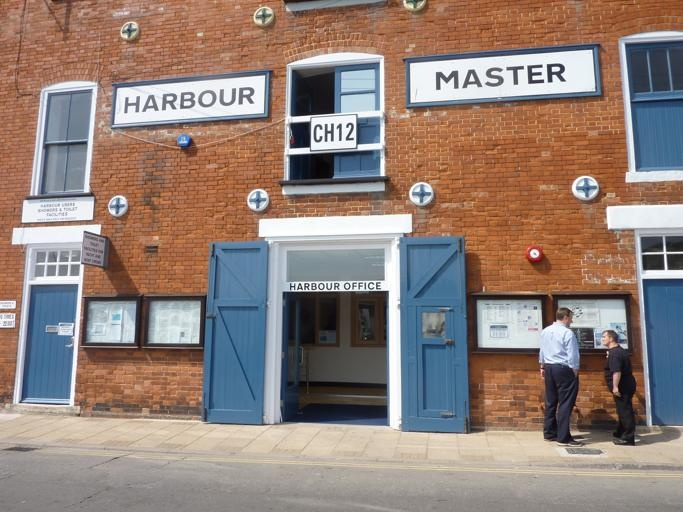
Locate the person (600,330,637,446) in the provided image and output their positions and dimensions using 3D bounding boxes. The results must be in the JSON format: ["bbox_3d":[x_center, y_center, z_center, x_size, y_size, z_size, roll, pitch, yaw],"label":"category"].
[{"bbox_3d":[4.921,2.300,11.968,0.472,1.891,0.660,-1,4,1],"label":"person"}]

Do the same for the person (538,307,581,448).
[{"bbox_3d":[3.862,2.132,12.088,0.667,2.344,0.681,1,4,21],"label":"person"}]
